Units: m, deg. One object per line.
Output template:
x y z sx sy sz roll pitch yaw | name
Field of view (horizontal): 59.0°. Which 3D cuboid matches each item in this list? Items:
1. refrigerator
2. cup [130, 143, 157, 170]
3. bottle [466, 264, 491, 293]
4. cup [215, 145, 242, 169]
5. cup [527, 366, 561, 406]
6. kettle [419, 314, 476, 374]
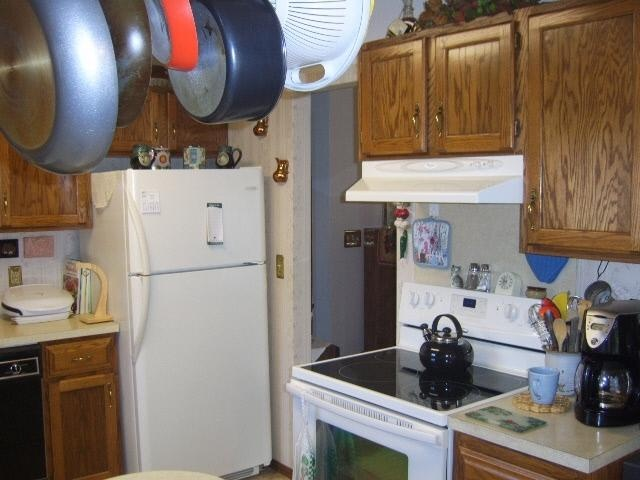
-0.727 0.514 3.283 0.999 1.912 0.427 -9 9 -18 | refrigerator
-1.008 -0.474 3.217 0.136 0.157 0.133 0 2 0 | cup
0.732 0.178 2.590 0.039 0.132 0.110 -4 8 -45 | bottle
-0.574 -0.530 3.555 0.195 0.209 0.140 1 -2 -6 | cup
0.794 0.535 2.020 0.097 0.115 0.149 -1 1 41 | cup
0.524 0.423 2.418 0.235 0.259 0.232 6 -5 -31 | kettle
